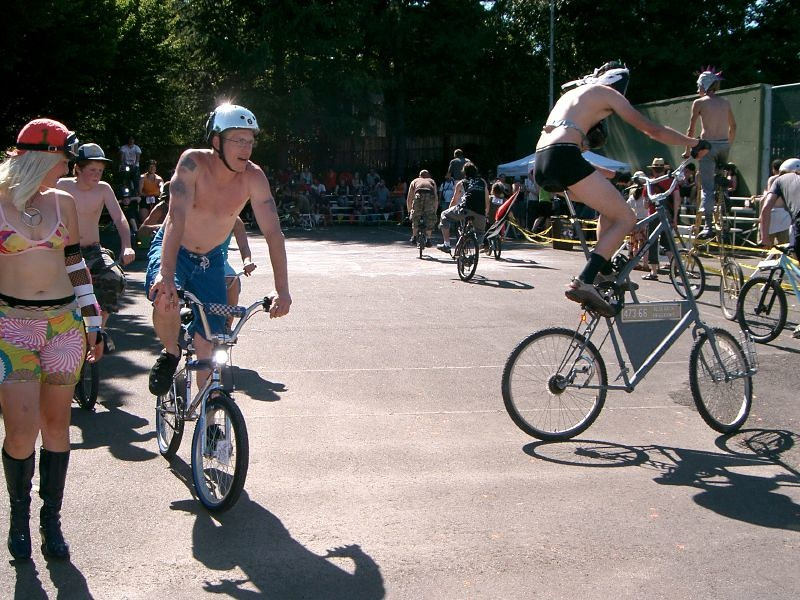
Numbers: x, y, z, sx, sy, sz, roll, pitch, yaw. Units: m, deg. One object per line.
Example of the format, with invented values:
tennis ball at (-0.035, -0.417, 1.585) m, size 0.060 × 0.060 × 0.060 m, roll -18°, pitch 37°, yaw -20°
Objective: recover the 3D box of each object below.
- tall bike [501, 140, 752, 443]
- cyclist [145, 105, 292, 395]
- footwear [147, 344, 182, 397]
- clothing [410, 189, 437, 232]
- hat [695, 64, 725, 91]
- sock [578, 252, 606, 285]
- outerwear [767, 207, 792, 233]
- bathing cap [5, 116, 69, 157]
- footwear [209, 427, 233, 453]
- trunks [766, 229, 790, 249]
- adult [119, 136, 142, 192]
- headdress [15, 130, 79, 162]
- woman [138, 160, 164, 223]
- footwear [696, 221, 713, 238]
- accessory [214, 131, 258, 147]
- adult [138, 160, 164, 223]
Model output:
tall bike at (1.879, 0.055, 6.892) m, size 2.011 × 2.076 × 1.094 m, roll -2°, pitch -2°, yaw 4°
cyclist at (-1.275, -0.330, 6.018) m, size 0.979 × 2.005 × 1.197 m, roll -3°, pitch 11°, yaw -18°
footwear at (-1.555, 0.481, 5.820) m, size 0.157 × 0.312 × 0.114 m, roll 23°, pitch 1°, yaw 31°
clothing at (0.554, -2.092, 20.283) m, size 0.578 × 0.971 × 0.618 m, roll 1°, pitch 10°, yaw 3°
hat at (4.354, -3.110, 12.271) m, size 0.259 × 0.399 × 1.321 m, roll 3°, pitch 12°, yaw 18°
sock at (1.468, -0.244, 6.634) m, size 0.311 × 0.242 × 0.159 m, roll -9°, pitch 14°, yaw -39°
outerwear at (4.464, -0.939, 10.234) m, size 0.297 × 0.424 × 0.215 m, roll 5°, pitch 9°, yaw 23°
bathing cap at (-2.136, -0.984, 5.219) m, size 0.297 × 0.230 × 0.234 m, roll -7°, pitch 18°, yaw -24°
footwear at (-1.151, 0.896, 5.523) m, size 0.147 × 0.167 × 0.041 m, roll 3°, pitch -6°, yaw 19°
trunks at (4.487, -0.725, 10.343) m, size 0.218 × 0.080 × 0.313 m, roll 3°, pitch -11°, yaw -5°
adult at (-7.721, -3.720, 24.921) m, size 0.618 × 2.002 × 0.577 m, roll 2°, pitch -2°, yaw -36°
headdress at (-2.090, -0.916, 5.158) m, size 0.255 × 0.145 × 0.201 m, roll -5°, pitch 15°, yaw -29°
woman at (-6.501, -2.556, 22.693) m, size 0.583 × 2.090 × 0.612 m, roll 2°, pitch -3°, yaw -29°
footwear at (4.380, -0.966, 12.424) m, size 0.253 × 0.274 × 0.129 m, roll 8°, pitch -6°, yaw -33°
accessory at (-1.099, -1.052, 5.701) m, size 0.168 × 0.068 × 0.127 m, roll 5°, pitch 6°, yaw 38°
adult at (-6.523, -2.544, 22.696) m, size 0.577 × 2.031 × 0.584 m, roll 1°, pitch -1°, yaw -26°
